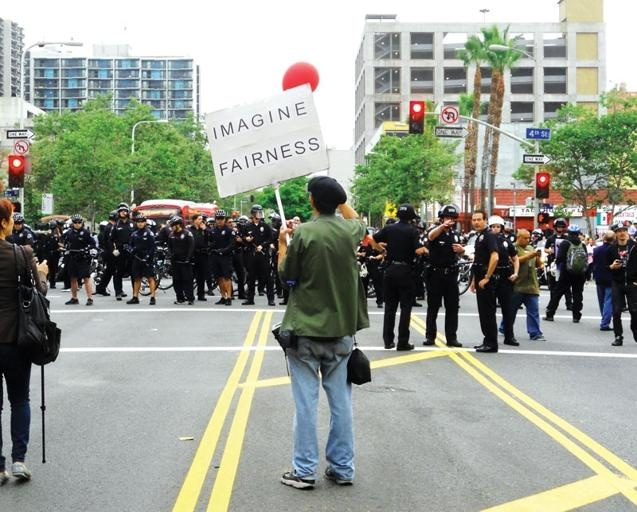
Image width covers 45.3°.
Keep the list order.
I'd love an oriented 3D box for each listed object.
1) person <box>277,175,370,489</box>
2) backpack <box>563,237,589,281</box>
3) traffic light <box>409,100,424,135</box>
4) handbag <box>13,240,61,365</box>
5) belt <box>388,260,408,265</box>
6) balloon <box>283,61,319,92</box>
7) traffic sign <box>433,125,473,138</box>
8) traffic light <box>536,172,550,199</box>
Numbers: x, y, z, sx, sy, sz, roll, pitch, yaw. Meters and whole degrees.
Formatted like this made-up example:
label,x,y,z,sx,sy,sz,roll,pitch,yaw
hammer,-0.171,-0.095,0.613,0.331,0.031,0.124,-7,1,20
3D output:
label,x,y,z,sx,sy,sz,roll,pitch,yaw
person,0.026,0.593,6.289,0.734,2.494,0.518,0,3,-16
backpack,5.231,0.038,16.135,0.468,0.670,0.416,-4,13,-28
traffic light,3.113,-4.666,25.489,0.472,1.103,0.895,1,3,4
handbag,-2.258,0.380,6.284,0.372,1.029,0.335,-2,6,-26
belt,1.191,0.101,11.892,0.235,0.067,0.049,1,3,6
balloon,-0.235,-2.119,9.035,0.403,0.321,0.286,0,3,-5
traffic sign,4.238,-4.223,25.803,1.001,0.360,0.763,1,3,12
traffic light,7.478,-2.440,26.554,0.429,0.897,0.886,2,3,19
